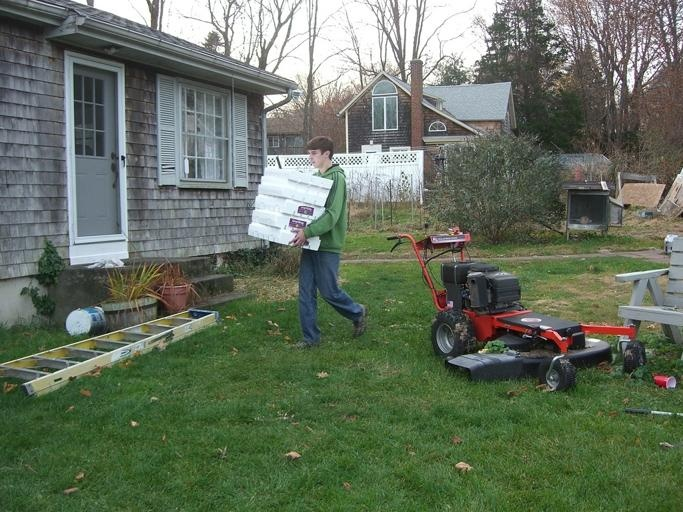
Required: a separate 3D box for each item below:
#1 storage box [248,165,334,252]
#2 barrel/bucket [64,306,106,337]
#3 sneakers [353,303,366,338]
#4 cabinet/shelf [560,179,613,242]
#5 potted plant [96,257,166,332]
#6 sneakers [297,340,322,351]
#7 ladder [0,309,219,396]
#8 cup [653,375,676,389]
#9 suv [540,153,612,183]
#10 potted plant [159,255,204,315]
[{"bbox_3d":[-0.637,-0.620,7.831,0.977,0.850,0.445,7,15,30],"label":"storage box"},{"bbox_3d":[-3.264,0.822,8.273,0.357,0.404,0.363,6,-1,0],"label":"barrel/bucket"},{"bbox_3d":[0.228,0.803,8.163,0.175,0.430,0.138,-7,12,-40],"label":"sneakers"},{"bbox_3d":[6.006,-1.152,15.850,0.975,1.450,1.126,2,3,11],"label":"cabinet/shelf"},{"bbox_3d":[-2.786,0.586,8.648,0.886,0.888,0.696,-10,-7,13],"label":"potted plant"},{"bbox_3d":[-0.413,1.079,7.759,0.191,0.092,0.111,5,9,-1],"label":"sneakers"},{"bbox_3d":[-2.636,1.067,7.665,0.687,0.215,2.547,5,13,33],"label":"ladder"},{"bbox_3d":[3.226,1.236,6.439,0.214,0.109,0.238,7,15,28],"label":"cup"},{"bbox_3d":[7.506,-2.769,20.573,2.011,0.883,2.143,1,11,2],"label":"suv"},{"bbox_3d":[-2.327,0.476,9.315,0.493,0.700,0.657,-4,-7,6],"label":"potted plant"}]
